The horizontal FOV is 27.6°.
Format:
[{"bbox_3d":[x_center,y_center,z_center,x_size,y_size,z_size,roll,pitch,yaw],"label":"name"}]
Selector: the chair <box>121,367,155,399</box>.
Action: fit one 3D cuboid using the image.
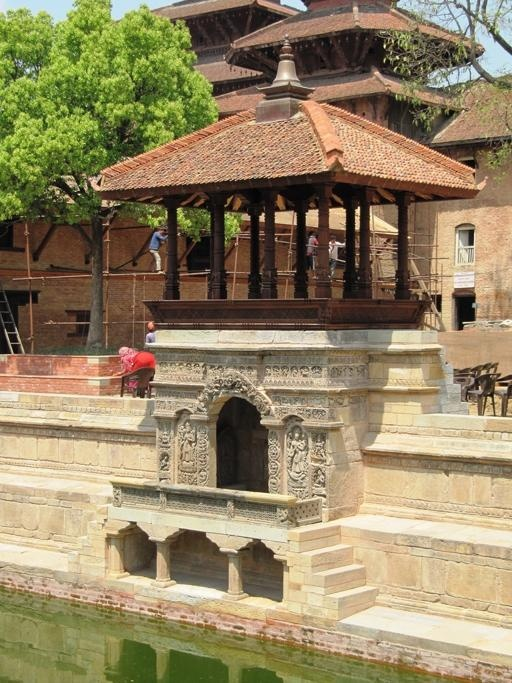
[{"bbox_3d":[-2.341,0.801,20.522,0.610,0.661,0.529,-7,20,-37],"label":"chair"}]
